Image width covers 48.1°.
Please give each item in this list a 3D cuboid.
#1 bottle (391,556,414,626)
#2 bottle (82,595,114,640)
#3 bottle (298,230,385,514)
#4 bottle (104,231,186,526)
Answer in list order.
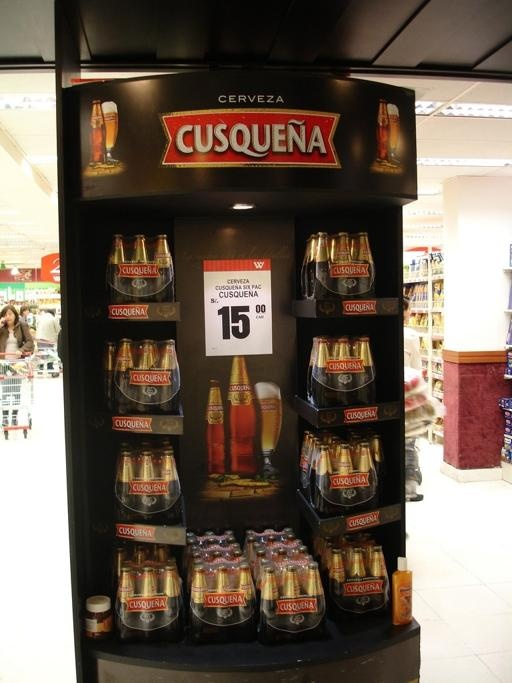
[{"bbox_3d":[0.562,0.956,2.207,0.073,0.217,0.123,0,2,12],"label":"bottle"},{"bbox_3d":[-0.573,0.997,2.071,0.114,0.133,0.117,-3,-6,22],"label":"bottle"},{"bbox_3d":[0.344,0.110,2.272,0.333,1.074,0.336,-1,2,0],"label":"bottle"},{"bbox_3d":[-0.436,0.131,2.190,0.279,1.078,0.299,-1,2,0],"label":"bottle"}]
